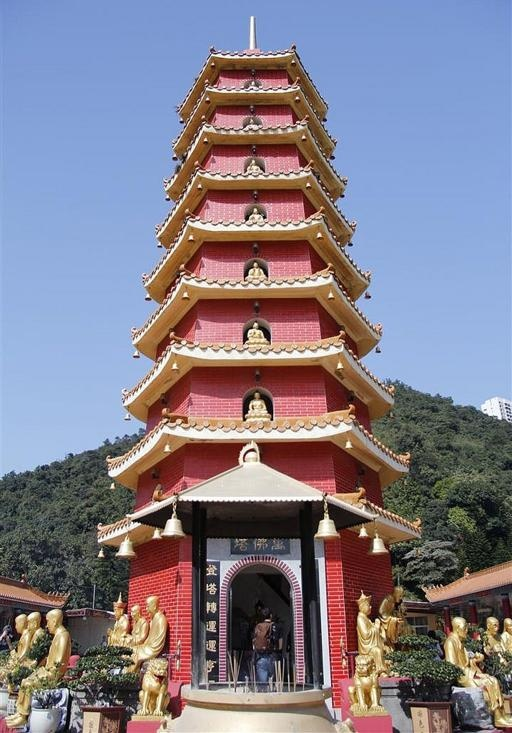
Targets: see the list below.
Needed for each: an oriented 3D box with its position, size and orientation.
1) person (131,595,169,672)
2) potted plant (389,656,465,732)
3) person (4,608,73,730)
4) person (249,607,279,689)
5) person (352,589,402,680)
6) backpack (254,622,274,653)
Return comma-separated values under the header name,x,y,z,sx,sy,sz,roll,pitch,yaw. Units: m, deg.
name,x,y,z,sx,sy,sz,roll,pitch,yaw
person,-1.763,4.486,11.208,0.555,1.181,0.727,5,-28,-7
potted plant,2.410,4.569,9.241,1.084,1.230,0.853,-3,-58,8
person,-3.131,4.374,9.713,0.733,1.673,1.429,9,-29,-15
person,0.116,3.563,8.204,0.347,1.109,0.330,4,-2,-37
person,1.986,4.413,10.889,0.742,1.267,0.567,-9,-48,10
backpack,0.103,3.326,8.136,0.229,0.303,0.143,13,-36,1
